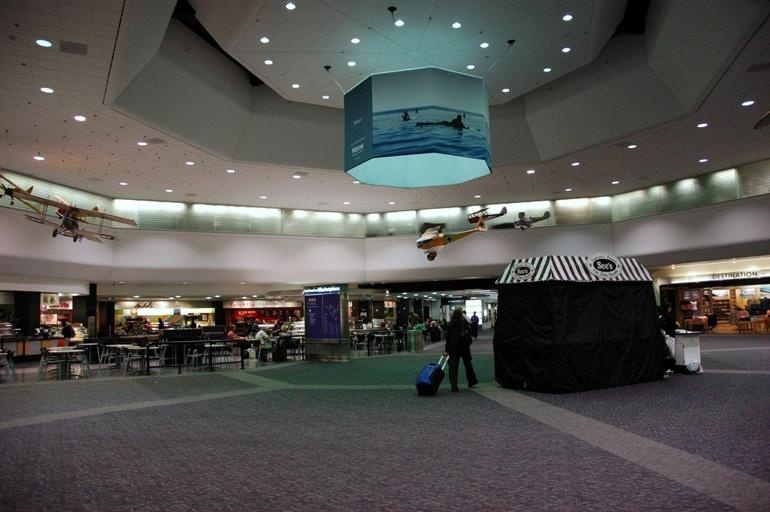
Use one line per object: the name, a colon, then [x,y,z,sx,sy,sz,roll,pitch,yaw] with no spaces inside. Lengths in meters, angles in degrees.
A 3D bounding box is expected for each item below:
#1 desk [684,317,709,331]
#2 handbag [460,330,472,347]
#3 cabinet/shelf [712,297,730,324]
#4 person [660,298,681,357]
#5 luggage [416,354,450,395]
desk: [17.812,3.817,27.077,1.420,0.857,0.918,2,-2,1]
handbag: [2.015,2.004,11.626,0.185,0.368,1.035,-4,-7,13]
cabinet/shelf: [19.409,3.029,26.973,0.908,1.435,0.232,-8,-9,36]
person: [7.758,1.984,12.793,0.387,1.463,0.660,-7,-8,30]
luggage: [1.056,2.879,10.991,0.427,0.661,0.716,-9,-10,44]
